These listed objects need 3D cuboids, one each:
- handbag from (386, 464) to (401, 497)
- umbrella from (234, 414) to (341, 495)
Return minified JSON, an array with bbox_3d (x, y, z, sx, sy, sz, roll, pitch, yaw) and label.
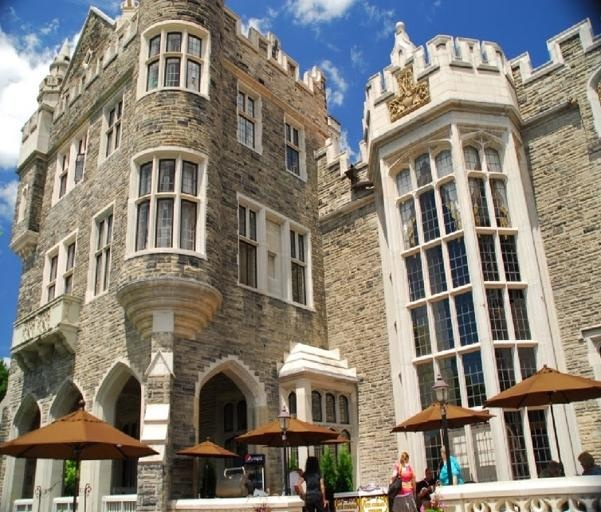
[{"bbox_3d":[1.940,4.623,11.177,0.335,0.600,0.361,-14,-28,22],"label":"handbag"},{"bbox_3d":[-0.414,4.899,13.457,1.580,1.315,1.632,5,-28,-12],"label":"umbrella"}]
